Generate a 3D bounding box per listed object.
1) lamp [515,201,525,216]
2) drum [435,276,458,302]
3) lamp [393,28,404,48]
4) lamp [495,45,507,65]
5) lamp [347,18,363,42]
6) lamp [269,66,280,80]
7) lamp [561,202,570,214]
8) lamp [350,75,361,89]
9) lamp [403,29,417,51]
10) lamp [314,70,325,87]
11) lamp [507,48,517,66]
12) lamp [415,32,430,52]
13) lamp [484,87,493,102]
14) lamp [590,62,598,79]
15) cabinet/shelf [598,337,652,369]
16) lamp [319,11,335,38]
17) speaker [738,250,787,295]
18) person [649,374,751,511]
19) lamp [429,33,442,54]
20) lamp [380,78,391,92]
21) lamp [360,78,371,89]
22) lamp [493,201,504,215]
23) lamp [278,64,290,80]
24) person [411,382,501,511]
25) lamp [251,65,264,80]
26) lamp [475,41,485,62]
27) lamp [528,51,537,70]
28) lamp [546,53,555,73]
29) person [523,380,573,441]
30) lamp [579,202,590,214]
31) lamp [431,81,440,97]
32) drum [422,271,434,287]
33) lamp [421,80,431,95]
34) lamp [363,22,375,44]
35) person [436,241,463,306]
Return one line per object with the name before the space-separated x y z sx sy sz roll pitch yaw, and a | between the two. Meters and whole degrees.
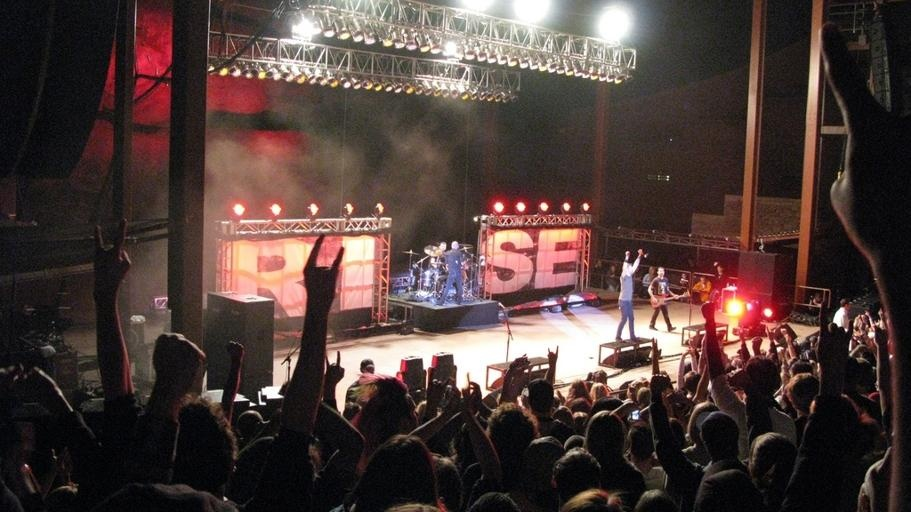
lamp | 2.133 -1.594 23.226 0.394 0.371 0.207 10 4 -14
drum | -0.277 0.958 20.649 0.730 0.900 0.330 1 16 -15
lamp | -1.427 -5.356 17.339 0.343 0.365 0.336 5 7 43
lamp | 1.153 -5.396 18.786 0.270 0.268 0.434 -21 -40 -3
lamp | -2.313 -5.318 16.653 0.320 0.385 0.481 0 -4 -4
lamp | -4.604 -4.658 18.042 0.208 0.266 0.088 -2 12 -22
lamp | 4.002 -1.788 25.502 0.348 0.254 0.386 0 -3 -3
lamp | -2.825 -4.932 20.015 0.298 0.301 0.274 2 -2 -28
lamp | -1.144 -5.349 17.400 0.355 0.383 0.346 2 17 8
lamp | -3.646 -4.867 18.949 0.267 0.282 0.556 0 -4 -7
lamp | 1.521 -5.299 18.974 0.312 0.311 0.539 -2 9 3
lamp | -0.878 -5.325 17.590 0.358 0.382 0.369 -16 -20 33
lamp | 1.041 -5.206 22.709 0.264 0.100 0.258 7 -21 -2
lamp | 4.043 -5.459 20.647 0.229 0.212 0.392 -6 0 2
cabinet/shelf | 3.901 2.220 16.266 1.197 0.663 1.164 -1 -4 9
lamp | -2.972 -5.337 16.340 0.290 0.454 0.116 -10 8 -21
speaker | 9.283 0.518 21.391 1.761 1.611 1.232 0 -1 -42
person | 2.315 1.779 6.678 0.643 1.184 0.297 -28 -22 16
lamp | -0.504 -5.322 17.569 0.250 0.429 0.250 9 18 28
lamp | -2.049 -5.037 20.685 0.407 0.428 0.411 -5 10 -28
lamp | -2.551 -5.027 20.409 0.352 0.206 0.344 1 -21 -5
lamp | 1.375 -1.586 22.582 0.352 0.244 0.411 -2 -1 -6
lamp | -4.425 -4.761 18.265 0.269 0.347 0.357 2 -6 -3
person | 0.028 1.621 6.404 0.806 1.058 0.457 -8 1 -16
lamp | -4.981 -4.615 17.902 0.255 0.292 0.643 1 -4 -18
lamp | 0.599 -5.289 18.332 0.264 0.279 0.264 5 28 28
lamp | 2.135 -5.416 19.518 0.253 0.315 0.124 1 10 6
lamp | 2.655 -5.439 19.768 0.257 0.334 0.091 -9 4 -26
person | 0.969 1.638 7.455 0.722 0.681 0.386 -3 23 12
lamp | 4.768 -1.812 26.204 0.496 0.472 0.174 3 2 -15
lamp | -0.577 -5.108 21.239 0.272 0.277 0.274 -25 -21 -16
drum | -0.797 0.662 20.951 0.447 0.491 0.445 3 4 20
lamp | -0.862 -5.070 21.007 0.237 0.260 0.561 -1 -4 10
lamp | -2.030 -5.300 16.712 0.207 0.410 0.348 -2 -4 32
person | -0.112 0.466 20.570 0.712 1.836 0.970 0 -3 -1
